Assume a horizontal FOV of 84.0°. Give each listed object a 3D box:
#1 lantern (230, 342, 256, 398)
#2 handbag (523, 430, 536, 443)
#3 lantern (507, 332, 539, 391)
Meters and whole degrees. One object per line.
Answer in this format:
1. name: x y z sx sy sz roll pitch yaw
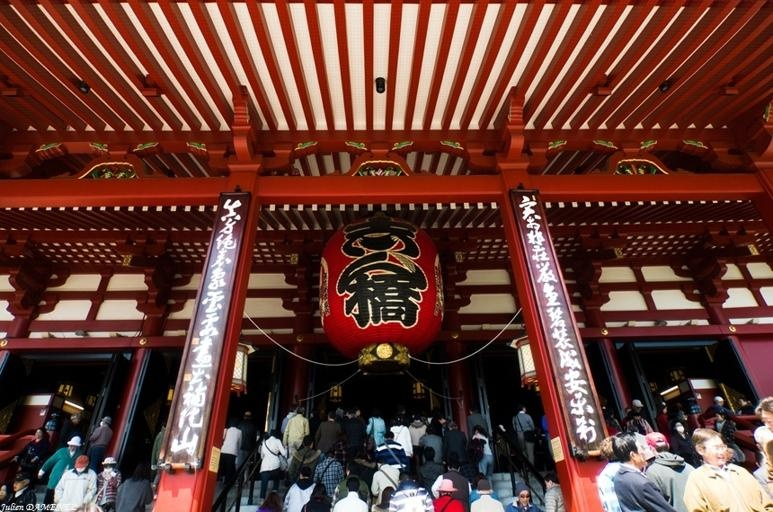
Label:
1. lantern: -2.572 2.056 8.011 0.614 0.844 0.532 -5 -13 1
2. handbag: 2.690 3.375 8.003 0.231 0.186 0.087 -5 -49 -3
3. lantern: 2.658 1.889 7.998 0.553 1.128 0.505 -20 -36 31
